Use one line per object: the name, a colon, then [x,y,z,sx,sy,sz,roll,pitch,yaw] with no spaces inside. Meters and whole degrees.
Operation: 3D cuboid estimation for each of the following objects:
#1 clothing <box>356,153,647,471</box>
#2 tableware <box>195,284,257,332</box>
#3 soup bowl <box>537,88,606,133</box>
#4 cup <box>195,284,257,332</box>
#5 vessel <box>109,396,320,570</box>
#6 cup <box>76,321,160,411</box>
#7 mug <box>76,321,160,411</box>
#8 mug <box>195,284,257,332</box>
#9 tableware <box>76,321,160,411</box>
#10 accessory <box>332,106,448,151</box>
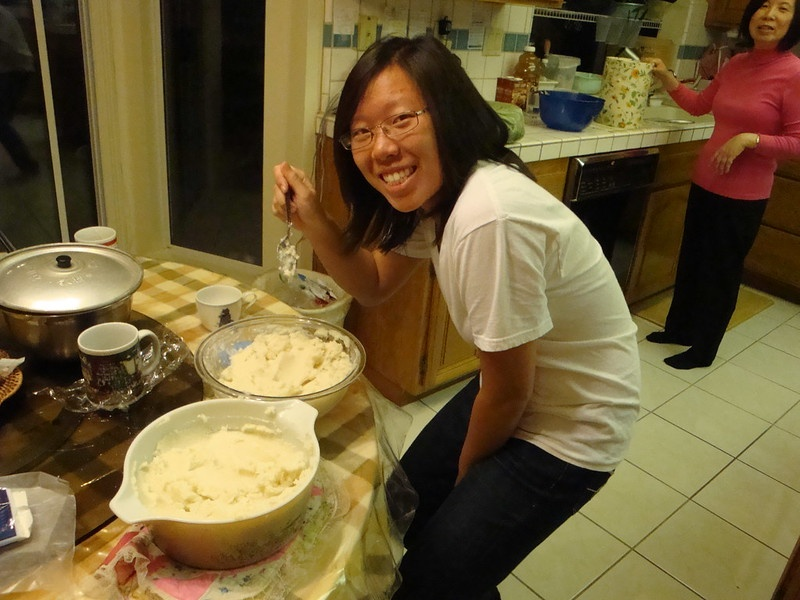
clothing: [0.231,-0.047,1.468,0.570,0.753,0.570,-4,21,6]
tableware: [-0.402,0.006,1.384,0.130,0.087,0.090,-15,36,-30]
soup bowl: [0.775,-0.851,2.683,0.262,0.116,0.227,23,29,31]
cup: [-0.407,0.035,1.401,0.130,0.087,0.090,-15,36,-30]
vessel: [-0.263,0.274,0.892,0.229,0.100,0.270,29,45,26]
cup: [-0.536,0.111,1.181,0.131,0.151,0.171,34,34,32]
mug: [-0.536,0.121,1.173,0.131,0.151,0.171,34,34,32]
mug: [-0.404,0.006,1.385,0.130,0.087,0.090,-15,36,-30]
tableware: [-0.540,0.108,1.187,0.131,0.151,0.171,34,34,32]
accessory: [-0.025,-0.338,1.158,0.093,0.028,0.095,-13,25,42]
